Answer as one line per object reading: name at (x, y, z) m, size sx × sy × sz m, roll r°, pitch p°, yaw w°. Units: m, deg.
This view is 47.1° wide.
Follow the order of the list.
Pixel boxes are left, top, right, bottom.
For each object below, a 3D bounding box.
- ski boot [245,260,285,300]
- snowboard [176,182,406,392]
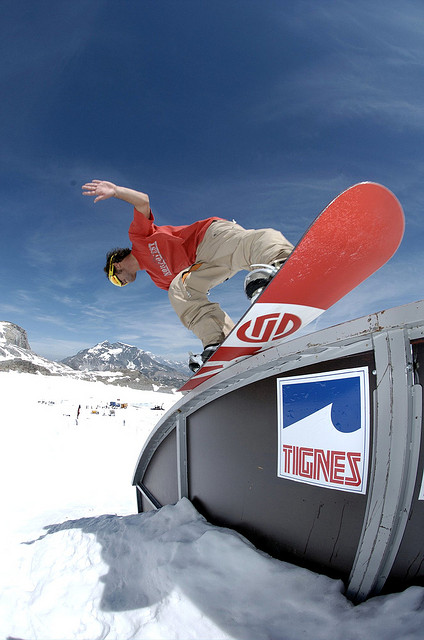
ski boot at (0.324, -0.266, 3.282) m, size 0.218 × 0.154 × 0.366 m, roll -23°, pitch 2°, yaw 21°
snowboard at (0.183, -0.134, 3.251) m, size 2.135 × 0.357 × 0.601 m, roll -41°, pitch -34°, yaw 23°
